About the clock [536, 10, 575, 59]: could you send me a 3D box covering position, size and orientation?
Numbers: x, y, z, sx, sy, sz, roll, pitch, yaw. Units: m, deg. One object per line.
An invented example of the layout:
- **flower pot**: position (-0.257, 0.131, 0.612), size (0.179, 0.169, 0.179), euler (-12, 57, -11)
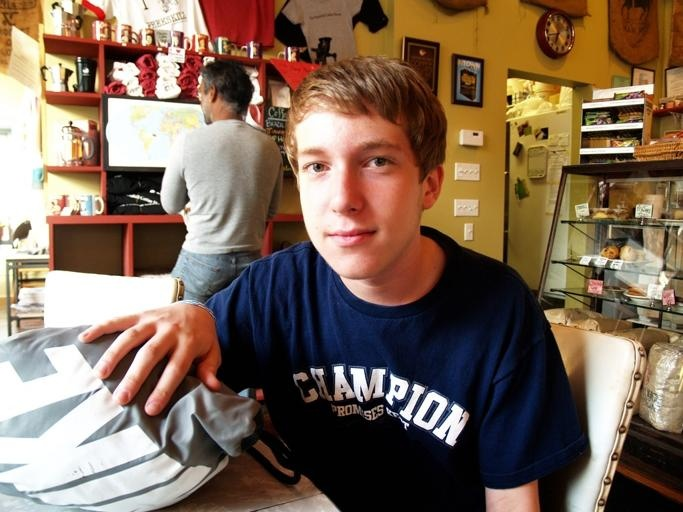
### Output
- **clock**: position (1.686, -1.745, 4.267), size (0.341, 0.370, 0.106), euler (-5, -3, -26)

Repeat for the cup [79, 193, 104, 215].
- **cup**: position (-1.398, -0.280, 3.026), size (0.136, 0.118, 0.090), euler (1, 0, -1)

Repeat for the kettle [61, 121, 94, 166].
- **kettle**: position (-1.515, -0.626, 3.139), size (0.226, 0.252, 0.141), euler (10, 14, 18)

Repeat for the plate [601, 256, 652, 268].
- **plate**: position (1.560, 0.041, 2.938), size (0.033, 0.069, 0.251), euler (-4, 10, -36)

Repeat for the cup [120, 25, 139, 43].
- **cup**: position (-1.189, -1.258, 3.077), size (0.104, 0.107, 0.069), euler (-4, 9, -15)

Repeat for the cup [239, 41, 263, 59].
- **cup**: position (-0.550, -1.257, 3.374), size (0.160, 0.127, 0.106), euler (-1, 6, 6)

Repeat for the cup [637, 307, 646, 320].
- **cup**: position (1.605, 0.308, 2.901), size (0.051, 0.053, 0.051), euler (-1, 5, 0)

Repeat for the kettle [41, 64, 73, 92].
- **kettle**: position (-1.632, -1.027, 3.130), size (0.167, 0.196, 0.333), euler (-3, 9, -29)

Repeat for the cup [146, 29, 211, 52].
- **cup**: position (-0.951, -1.276, 3.220), size (0.346, 0.156, 0.204), euler (-1, 8, -18)

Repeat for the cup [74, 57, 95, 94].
- **cup**: position (-1.466, -1.025, 3.113), size (0.136, 0.188, 0.135), euler (1, 1, 0)

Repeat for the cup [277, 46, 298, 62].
- **cup**: position (-0.336, -1.268, 3.379), size (0.099, 0.092, 0.066), euler (1, 15, 4)

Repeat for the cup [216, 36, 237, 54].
- **cup**: position (-0.694, -1.279, 3.295), size (0.092, 0.109, 0.100), euler (1, 35, 0)
